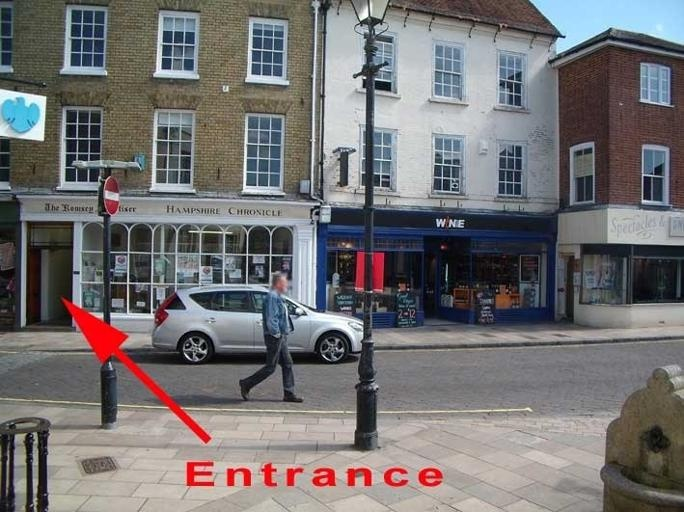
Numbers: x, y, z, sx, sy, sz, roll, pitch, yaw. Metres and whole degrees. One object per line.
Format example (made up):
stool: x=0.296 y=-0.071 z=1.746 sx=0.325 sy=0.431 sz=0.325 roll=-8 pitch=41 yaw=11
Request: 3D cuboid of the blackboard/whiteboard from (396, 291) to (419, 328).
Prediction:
blackboard/whiteboard: x=2.051 y=1.693 z=25.558 sx=0.718 sy=1.127 sz=0.298 roll=-1 pitch=-2 yaw=-3

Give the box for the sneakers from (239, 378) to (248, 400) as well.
sneakers: x=-2.080 y=2.795 z=16.974 sx=0.226 sy=0.508 sz=0.166 roll=-4 pitch=4 yaw=6

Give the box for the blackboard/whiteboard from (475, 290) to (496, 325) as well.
blackboard/whiteboard: x=4.781 y=1.678 z=26.760 sx=0.595 sy=1.170 sz=0.856 roll=-1 pitch=-2 yaw=12

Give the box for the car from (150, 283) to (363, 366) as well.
car: x=-2.146 y=1.705 z=20.563 sx=5.034 sy=1.739 sz=2.177 roll=0 pitch=-4 yaw=-5

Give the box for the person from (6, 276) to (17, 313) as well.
person: x=-10.095 y=1.115 z=24.301 sx=0.316 sy=1.059 sz=0.106 roll=-1 pitch=-2 yaw=13

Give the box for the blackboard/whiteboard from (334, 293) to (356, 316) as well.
blackboard/whiteboard: x=0.057 y=1.441 z=23.848 sx=0.866 sy=0.904 sz=0.482 roll=-1 pitch=-4 yaw=3

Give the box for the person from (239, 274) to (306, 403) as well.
person: x=-1.487 y=1.729 z=17.133 sx=1.183 sy=2.751 sz=0.840 roll=-1 pitch=-2 yaw=-8

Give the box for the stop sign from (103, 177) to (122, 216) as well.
stop sign: x=-4.689 y=-1.237 z=16.107 sx=0.264 sy=0.805 sz=0.449 roll=0 pitch=-2 yaw=-15
